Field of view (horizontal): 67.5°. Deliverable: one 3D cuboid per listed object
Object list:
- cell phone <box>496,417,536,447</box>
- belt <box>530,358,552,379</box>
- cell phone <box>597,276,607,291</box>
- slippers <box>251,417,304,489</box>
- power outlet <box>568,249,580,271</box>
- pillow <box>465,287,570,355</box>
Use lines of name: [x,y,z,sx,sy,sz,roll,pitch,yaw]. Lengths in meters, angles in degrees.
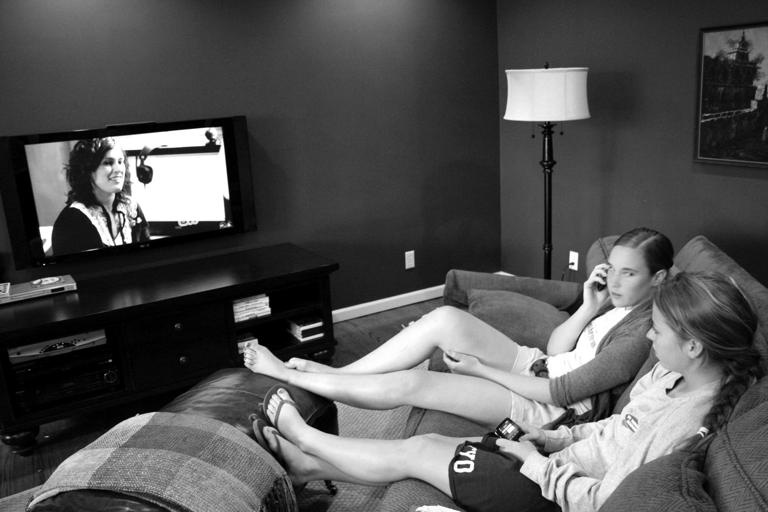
cell phone: [0.551,0.745,2.431,0.114,0.081,0.120,35,-8,-20]
belt: [0.795,0.577,2.924,0.072,0.031,0.072,-6,20,-1]
cell phone: [1.123,0.145,2.941,0.018,0.079,0.044,4,24,-14]
slippers: [-0.437,0.830,2.473,0.093,0.376,0.143,-23,16,31]
power outlet: [1.551,0.035,4.699,0.021,0.192,0.138,-10,19,-30]
pillow: [0.739,0.338,3.285,0.411,0.126,0.367,24,41,23]
